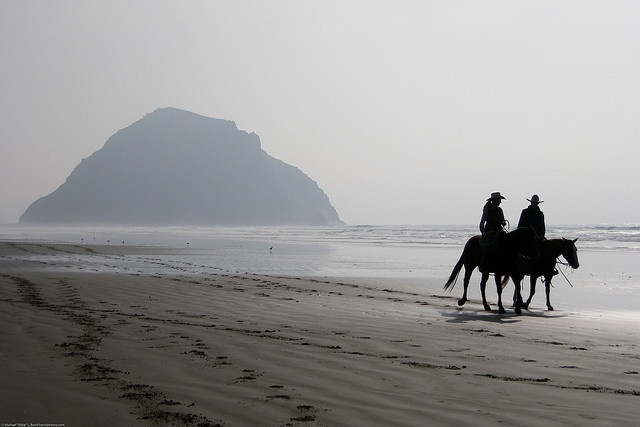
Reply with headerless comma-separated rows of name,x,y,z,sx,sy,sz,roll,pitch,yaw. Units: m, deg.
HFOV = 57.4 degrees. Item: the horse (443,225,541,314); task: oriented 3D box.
horse,5.227,1.692,17.843,1.206,2.562,2.261,15,-12,-23
